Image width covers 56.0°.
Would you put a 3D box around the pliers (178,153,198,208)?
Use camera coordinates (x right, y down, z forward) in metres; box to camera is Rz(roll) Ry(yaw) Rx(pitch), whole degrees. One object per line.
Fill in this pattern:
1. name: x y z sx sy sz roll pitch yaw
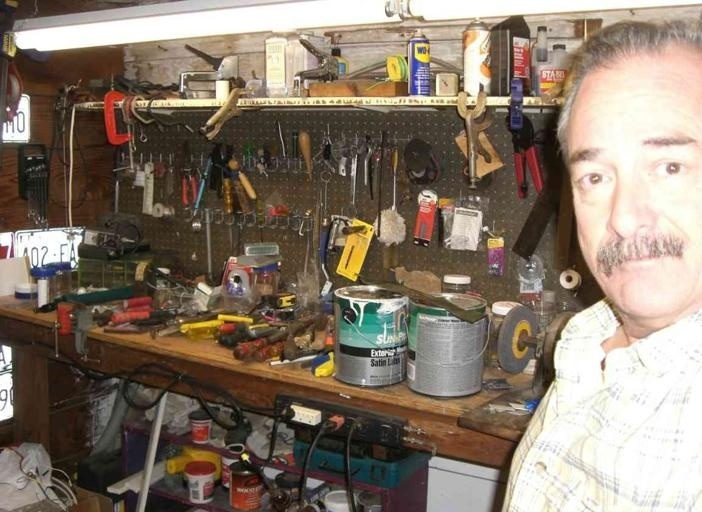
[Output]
1. pliers: -0.884 -0.409 3.587 0.128 0.298 0.052 2 8 24

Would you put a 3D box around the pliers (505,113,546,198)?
1. pliers: 0.718 -0.423 2.750 0.145 0.348 0.112 5 10 6

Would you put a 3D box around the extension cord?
1. extension cord: -0.058 0.601 2.413 0.549 0.117 0.069 2 9 24

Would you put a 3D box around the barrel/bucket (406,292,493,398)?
1. barrel/bucket: 0.335 0.334 2.373 0.272 0.339 0.151 -1 8 4
